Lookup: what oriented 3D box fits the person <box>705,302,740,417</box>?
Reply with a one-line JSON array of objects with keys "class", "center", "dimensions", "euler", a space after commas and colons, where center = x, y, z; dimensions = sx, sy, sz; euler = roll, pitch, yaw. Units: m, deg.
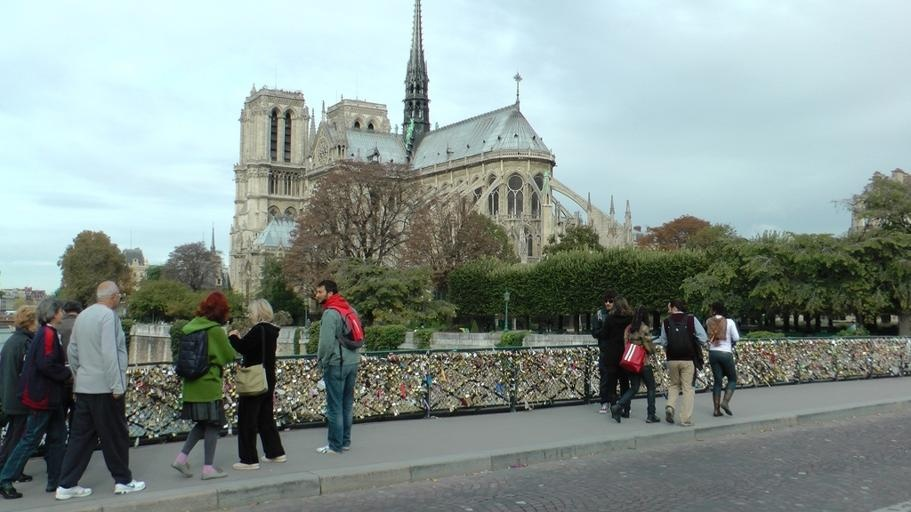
[{"class": "person", "center": [6.638, 2.579, 22.339], "dimensions": [0.750, 2.797, 0.644], "euler": [1, 6, -1]}]

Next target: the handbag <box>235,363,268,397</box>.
[{"class": "handbag", "center": [-4.164, 2.575, 18.442], "dimensions": [0.677, 0.618, 0.342], "euler": [-4, -10, -1]}]

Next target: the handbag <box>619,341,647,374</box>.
[{"class": "handbag", "center": [4.265, 2.422, 21.398], "dimensions": [0.762, 0.805, 0.351], "euler": [10, 7, 39]}]

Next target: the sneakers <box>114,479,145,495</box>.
[{"class": "sneakers", "center": [-6.330, 4.502, 17.546], "dimensions": [0.582, 0.251, 0.239], "euler": [-4, 9, -27]}]

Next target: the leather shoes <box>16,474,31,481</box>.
[{"class": "leather shoes", "center": [-8.705, 4.512, 18.135], "dimensions": [0.311, 0.128, 0.128], "euler": [-2, 4, -23]}]

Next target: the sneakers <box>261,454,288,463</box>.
[{"class": "sneakers", "center": [-3.775, 4.250, 18.803], "dimensions": [0.437, 0.171, 0.165], "euler": [3, -2, 2]}]

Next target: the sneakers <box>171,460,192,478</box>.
[{"class": "sneakers", "center": [-5.481, 4.391, 18.193], "dimensions": [0.296, 0.194, 0.621], "euler": [-18, -34, 9]}]

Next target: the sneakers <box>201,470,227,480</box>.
[{"class": "sneakers", "center": [-4.850, 4.422, 18.078], "dimensions": [0.417, 0.151, 0.208], "euler": [-2, -2, -11]}]

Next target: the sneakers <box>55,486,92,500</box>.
[{"class": "sneakers", "center": [-7.361, 4.603, 17.336], "dimensions": [0.652, 0.274, 0.257], "euler": [0, 2, -21]}]

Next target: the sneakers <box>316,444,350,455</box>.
[{"class": "sneakers", "center": [-2.638, 4.162, 19.356], "dimensions": [0.676, 0.243, 0.239], "euler": [4, -5, 0]}]

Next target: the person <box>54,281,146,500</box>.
[{"class": "person", "center": [-7.047, 2.604, 17.601], "dimensions": [1.446, 4.129, 1.151], "euler": [-1, 6, -13]}]
